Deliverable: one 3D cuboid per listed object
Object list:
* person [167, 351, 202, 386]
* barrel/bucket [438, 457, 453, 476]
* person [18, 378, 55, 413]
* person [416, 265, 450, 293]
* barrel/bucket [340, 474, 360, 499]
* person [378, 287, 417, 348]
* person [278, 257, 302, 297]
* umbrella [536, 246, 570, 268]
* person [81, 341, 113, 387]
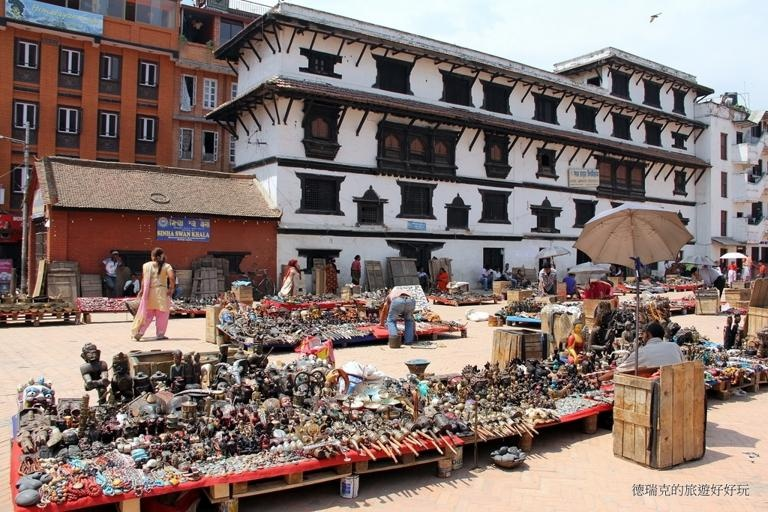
[{"bbox_3d":[-4.807,2.744,17.481,0.765,0.917,0.366,3,-5,-29],"label":"person"},{"bbox_3d":[1.362,4.788,16.378,0.288,0.419,0.115,1,-2,-11],"label":"barrel/bucket"},{"bbox_3d":[-8.243,3.329,17.073,0.741,0.754,0.969,4,-23,-37],"label":"person"},{"bbox_3d":[2.595,1.231,37.077,1.117,0.722,1.414,-4,8,-44],"label":"person"},{"bbox_3d":[-0.748,5.052,15.856,0.464,0.472,0.455,0,-5,0],"label":"barrel/bucket"},{"bbox_3d":[0.486,1.953,23.451,0.885,1.862,0.995,1,-2,-8],"label":"person"},{"bbox_3d":[-3.682,0.881,28.498,0.833,1.533,1.494,1,-2,-7],"label":"person"},{"bbox_3d":[9.257,0.008,40.328,1.067,0.789,1.138,-11,5,17],"label":"umbrella"},{"bbox_3d":[-6.901,2.689,17.331,0.610,1.167,1.174,1,-2,-23],"label":"person"}]
